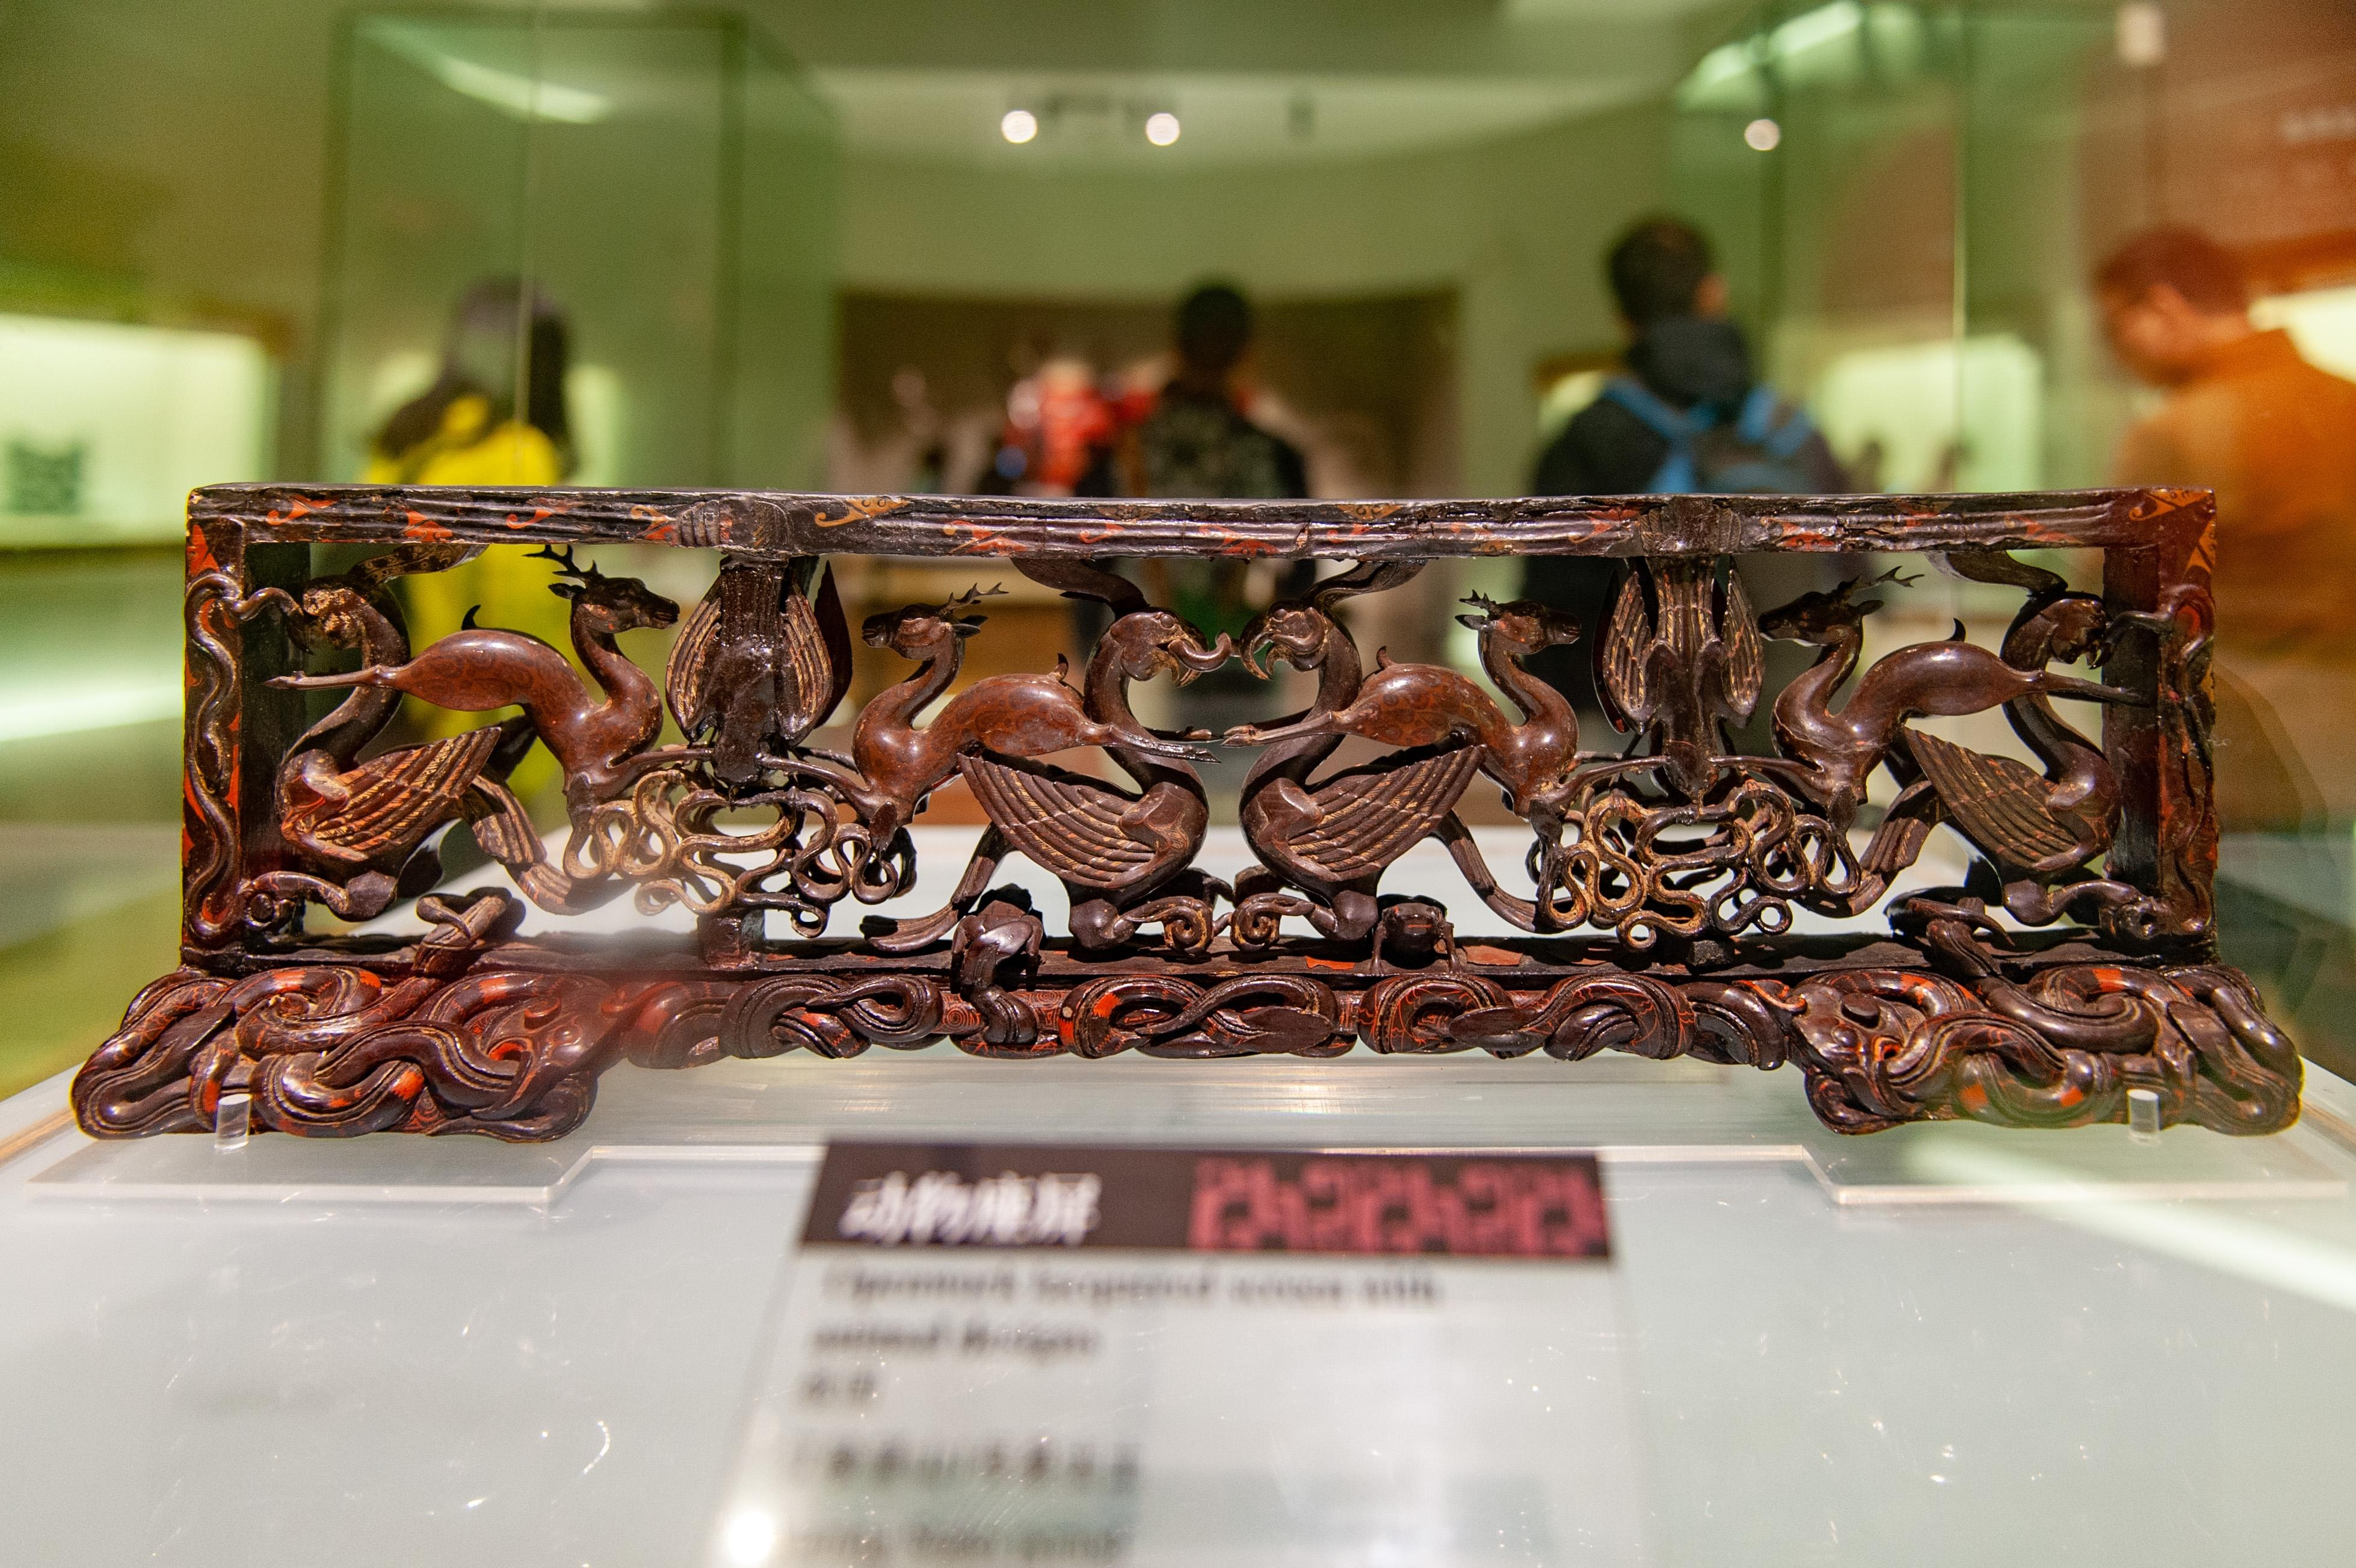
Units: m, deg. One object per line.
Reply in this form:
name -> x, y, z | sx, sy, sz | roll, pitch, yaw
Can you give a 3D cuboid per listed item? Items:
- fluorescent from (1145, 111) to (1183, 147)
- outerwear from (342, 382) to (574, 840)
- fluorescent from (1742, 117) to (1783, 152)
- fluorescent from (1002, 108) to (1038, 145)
fluorescent -> -0.038, -1.643, 5.090 | 0.079, 0.079, 0.019 | -2, 4, -3
outerwear -> -1.755, -0.451, 5.072 | 0.670, 1.035, 0.271 | -2, 16, -2
fluorescent -> 1.455, -1.620, 5.076 | 0.081, 0.081, 0.017 | -3, 6, -1
fluorescent -> -0.400, -1.645, 5.091 | 0.091, 0.078, 0.019 | -3, 10, -12
